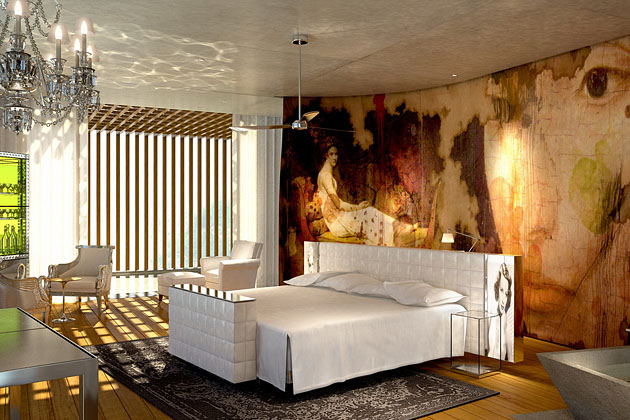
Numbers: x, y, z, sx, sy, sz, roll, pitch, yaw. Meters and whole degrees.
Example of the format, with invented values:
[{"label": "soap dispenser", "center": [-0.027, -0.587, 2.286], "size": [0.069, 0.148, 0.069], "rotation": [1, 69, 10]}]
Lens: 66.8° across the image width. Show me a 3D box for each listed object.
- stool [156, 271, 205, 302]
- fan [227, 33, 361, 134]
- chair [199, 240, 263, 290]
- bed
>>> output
[{"label": "stool", "center": [-2.191, 1.263, 8.091], "size": [0.812, 0.467, 0.798], "rotation": [-1, -3, 44]}, {"label": "fan", "center": [-0.219, -1.755, 6.861], "size": [1.956, 1.208, 1.590], "rotation": [-3, 20, -8]}, {"label": "chair", "center": [-1.416, 0.984, 8.145], "size": [0.834, 0.908, 0.866], "rotation": [-3, 3, -36]}, {"label": "bed", "center": [0.421, 1.182, 5.207], "size": [1.648, 0.703, 2.004], "rotation": [1, -3, -32]}]
